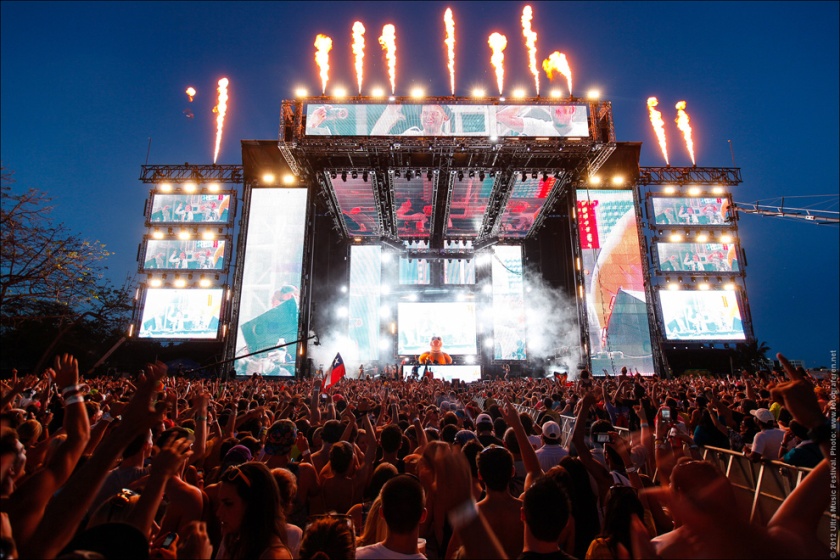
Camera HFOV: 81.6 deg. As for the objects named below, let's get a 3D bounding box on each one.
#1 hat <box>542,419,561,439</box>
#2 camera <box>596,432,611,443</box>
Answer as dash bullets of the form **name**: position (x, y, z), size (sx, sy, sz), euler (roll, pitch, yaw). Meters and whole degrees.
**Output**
- **hat**: position (1.972, 2.250, 7.387), size (0.234, 0.171, 0.350), euler (0, 4, 5)
- **camera**: position (2.574, 2.204, 6.832), size (0.225, 0.161, 0.124), euler (-2, -28, 17)
